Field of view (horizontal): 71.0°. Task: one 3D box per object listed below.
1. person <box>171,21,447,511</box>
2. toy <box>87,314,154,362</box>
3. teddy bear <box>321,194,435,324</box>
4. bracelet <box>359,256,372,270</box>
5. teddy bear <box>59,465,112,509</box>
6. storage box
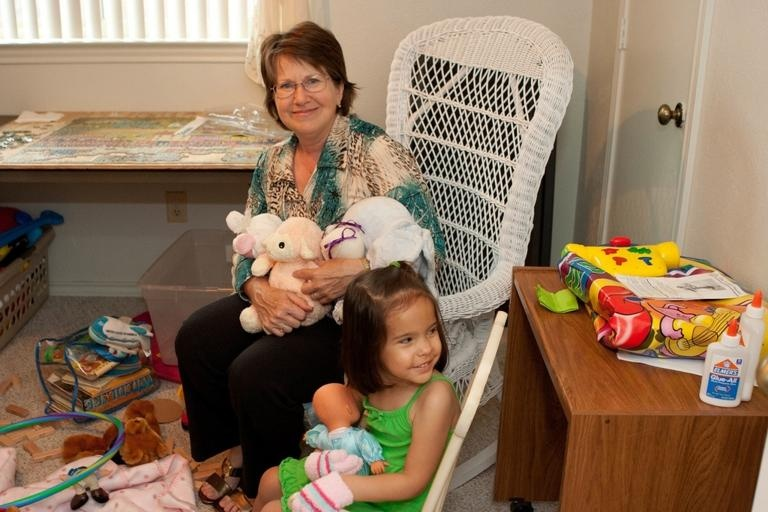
[{"bbox_3d":[0.094,-0.037,1.922,0.857,1.459,1.149,13,20,26],"label":"person"},{"bbox_3d":[-1.149,0.362,2.333,0.213,0.071,0.202,13,35,-32],"label":"toy"},{"bbox_3d":[-0.010,0.022,1.667,0.382,0.392,0.191,-4,-18,12],"label":"teddy bear"},{"bbox_3d":[-0.060,0.020,1.700,0.030,0.040,0.029,-4,2,33],"label":"bracelet"},{"bbox_3d":[-0.998,0.756,1.805,0.112,0.134,0.054,-19,-3,-18],"label":"teddy bear"},{"bbox_3d":[-0.857,0.165,2.727,0.488,0.379,0.718,1,19,4],"label":"storage box"}]
